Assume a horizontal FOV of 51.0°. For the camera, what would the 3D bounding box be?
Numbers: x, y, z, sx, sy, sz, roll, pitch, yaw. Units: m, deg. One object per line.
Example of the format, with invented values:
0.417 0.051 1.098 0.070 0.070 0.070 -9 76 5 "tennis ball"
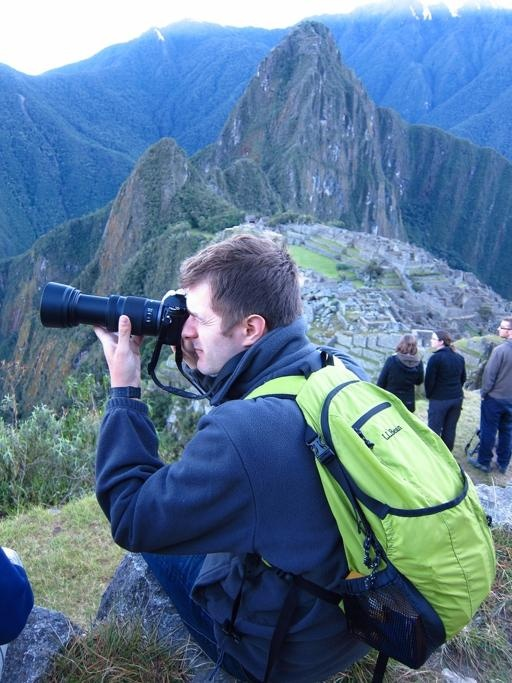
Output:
-0.478 -0.122 1.824 0.465 0.198 0.183 7 26 -27 "camera"
